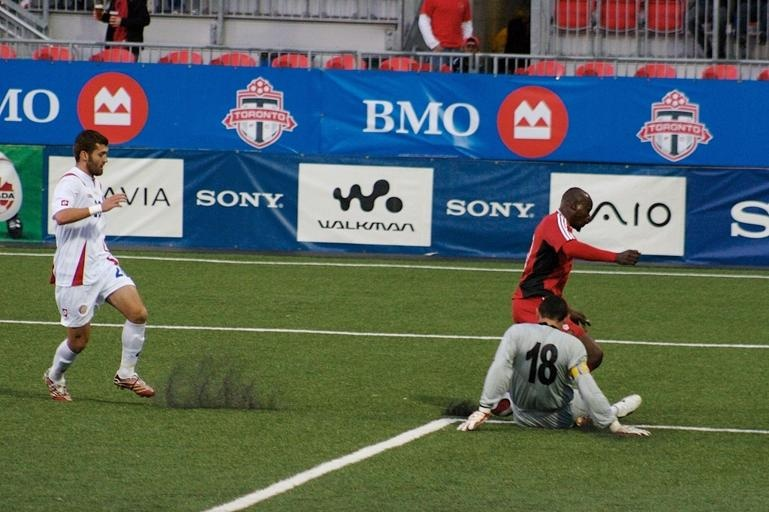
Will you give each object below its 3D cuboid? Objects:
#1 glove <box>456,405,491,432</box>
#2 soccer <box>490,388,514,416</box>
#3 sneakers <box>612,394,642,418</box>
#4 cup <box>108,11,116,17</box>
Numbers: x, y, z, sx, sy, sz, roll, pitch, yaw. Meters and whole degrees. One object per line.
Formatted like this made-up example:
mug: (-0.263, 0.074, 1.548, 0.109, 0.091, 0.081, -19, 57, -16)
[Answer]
glove: (1.245, 2.166, 18.243, 0.303, 0.434, 0.170, 38, 29, 13)
soccer: (1.623, 2.043, 18.674, 0.311, 0.289, 0.222, 4, 12, 7)
sneakers: (3.301, 1.980, 18.297, 0.197, 0.233, 0.594, -42, -4, 26)
cup: (-5.665, -5.029, 28.154, 0.171, 0.090, 0.398, -2, 11, -11)
